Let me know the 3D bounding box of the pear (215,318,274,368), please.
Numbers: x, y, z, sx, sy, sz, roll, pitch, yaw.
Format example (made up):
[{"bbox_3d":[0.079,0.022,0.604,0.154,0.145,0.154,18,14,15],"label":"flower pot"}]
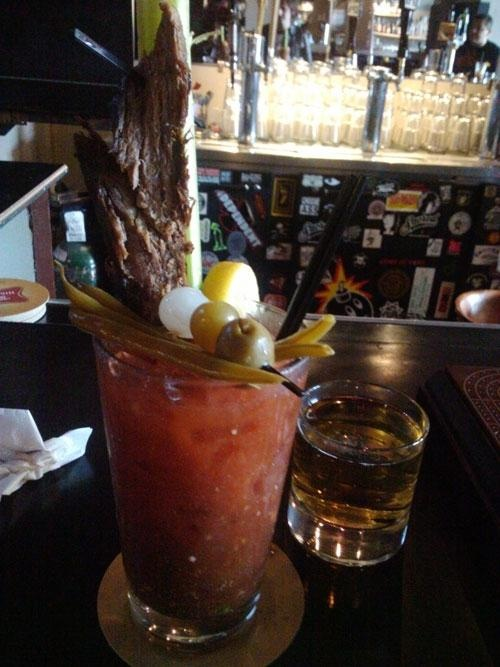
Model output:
[{"bbox_3d":[-0.005,0.002,0.288,0.025,0.024,0.032,-1,21,-16],"label":"pear"}]
